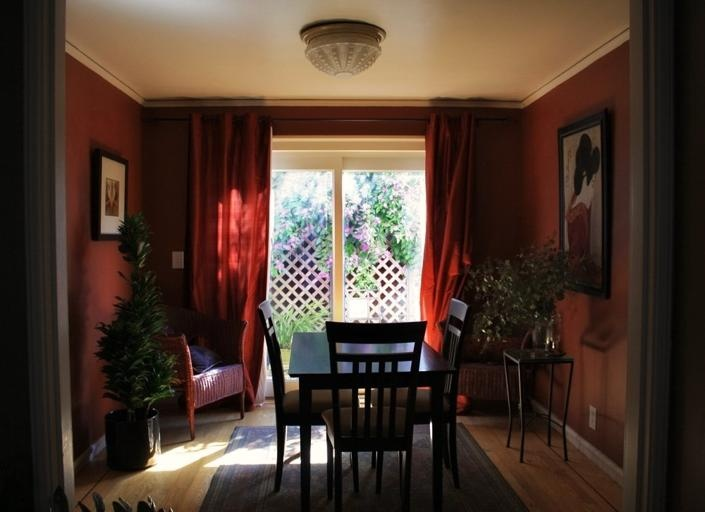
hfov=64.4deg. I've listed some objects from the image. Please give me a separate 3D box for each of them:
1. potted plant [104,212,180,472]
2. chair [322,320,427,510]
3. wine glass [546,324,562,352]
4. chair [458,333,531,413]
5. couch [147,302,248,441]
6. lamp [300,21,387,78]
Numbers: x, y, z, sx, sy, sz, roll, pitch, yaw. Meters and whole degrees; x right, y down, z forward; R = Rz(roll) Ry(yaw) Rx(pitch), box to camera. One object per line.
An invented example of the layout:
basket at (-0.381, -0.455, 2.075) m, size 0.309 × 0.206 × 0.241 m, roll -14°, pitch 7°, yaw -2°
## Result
potted plant at (-1.545, 0.569, 4.035) m, size 0.536 × 1.788 × 0.768 m, roll 0°, pitch 0°, yaw -26°
chair at (0.108, 0.921, 3.285) m, size 0.578 × 1.066 × 0.695 m, roll 0°, pitch 0°, yaw -2°
wine glass at (1.402, 0.564, 3.927) m, size 0.095 × 0.222 × 0.066 m, roll 0°, pitch 0°, yaw 18°
chair at (1.161, 0.932, 4.650) m, size 0.562 × 0.632 × 0.628 m, roll 0°, pitch -6°, yaw 5°
couch at (-1.229, 0.851, 4.578) m, size 0.752 × 1.146 × 0.884 m, roll -3°, pitch -4°, yaw 34°
lamp at (-0.065, -1.345, 3.637) m, size 0.558 × 0.310 × 0.443 m, roll 0°, pitch -1°, yaw -7°
